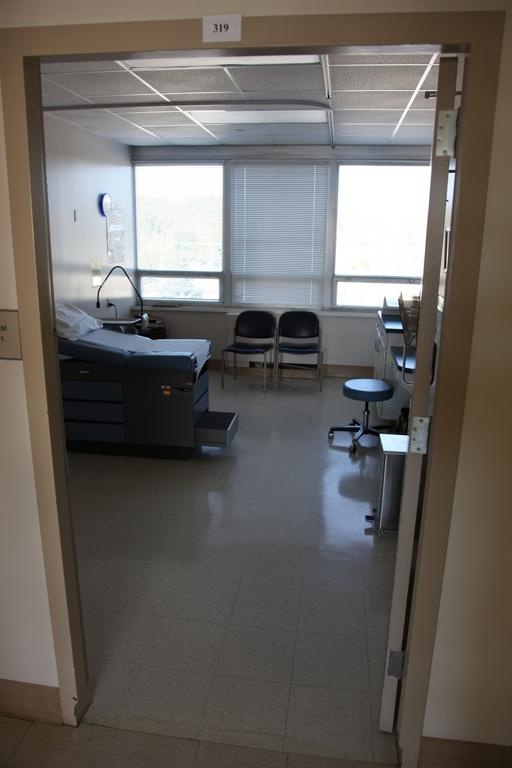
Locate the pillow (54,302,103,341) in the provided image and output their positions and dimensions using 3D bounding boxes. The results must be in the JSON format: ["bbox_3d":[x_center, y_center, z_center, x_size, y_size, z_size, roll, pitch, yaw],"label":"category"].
[{"bbox_3d":[-1.339,-0.478,4.327,0.326,0.209,0.731,-3,13,-16],"label":"pillow"}]

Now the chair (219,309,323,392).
[{"bbox_3d":[0.192,-0.423,6.544,1.106,0.802,0.980,2,12,7],"label":"chair"}]

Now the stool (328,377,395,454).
[{"bbox_3d":[0.873,0.242,4.607,0.503,0.521,0.530,-10,22,-26],"label":"stool"}]
